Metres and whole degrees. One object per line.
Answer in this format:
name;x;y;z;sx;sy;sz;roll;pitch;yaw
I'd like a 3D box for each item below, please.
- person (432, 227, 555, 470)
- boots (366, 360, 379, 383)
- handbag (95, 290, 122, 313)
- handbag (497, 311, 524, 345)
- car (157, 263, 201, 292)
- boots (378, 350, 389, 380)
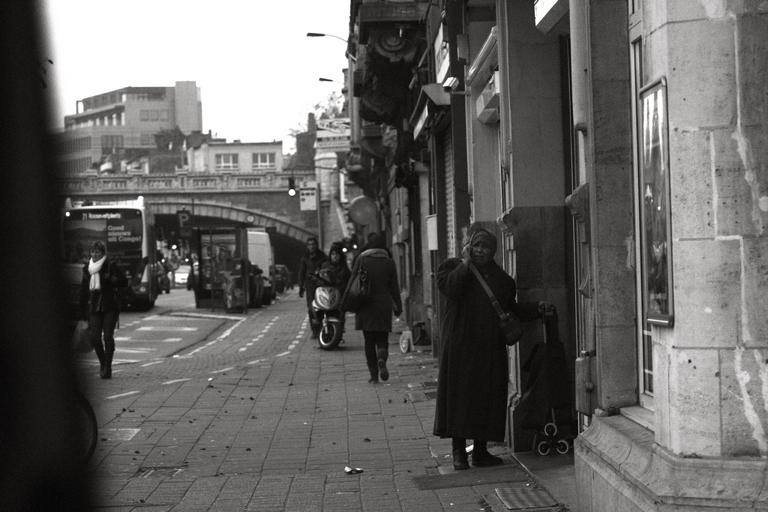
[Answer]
person;0.819;0.650;9.070;0.822;1.771;0.468;-1;1;2
boots;-0.152;1.550;14.246;0.141;0.266;0.292;-1;1;-1
handbag;-3.878;0.646;14.989;0.321;0.441;0.225;1;-3;-39
handbag;1.041;0.598;8.952;0.160;0.236;0.128;-28;-15;-7
car;-10.660;1.136;54.743;1.440;1.239;3.094;0;3;-8
boots;-0.026;1.469;14.358;0.128;0.398;0.267;-5;3;9
